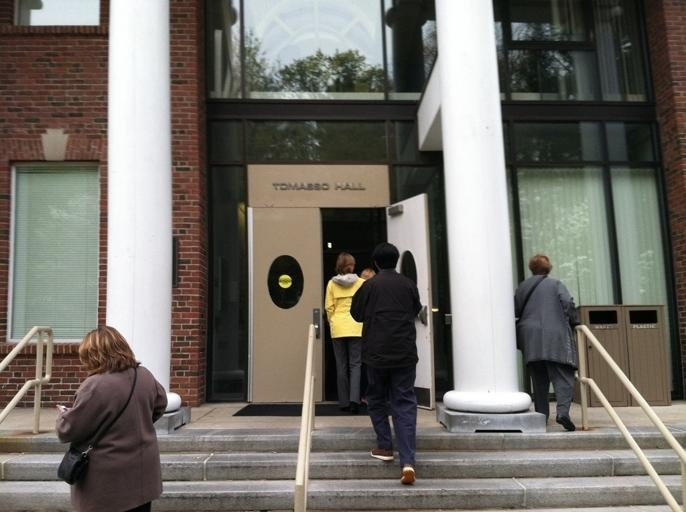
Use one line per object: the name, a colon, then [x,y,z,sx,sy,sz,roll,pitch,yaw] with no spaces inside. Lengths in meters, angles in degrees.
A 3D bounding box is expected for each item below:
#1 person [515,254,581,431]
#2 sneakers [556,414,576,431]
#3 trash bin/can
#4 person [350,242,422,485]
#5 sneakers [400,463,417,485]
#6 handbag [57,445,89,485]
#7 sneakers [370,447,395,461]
person: [2.610,1.228,10.940,0.808,2.157,0.612,-3,-1,14]
sneakers: [2.774,2.104,10.660,0.215,0.200,0.232,-3,-1,28]
trash bin/can: [4.023,1.484,12.367,1.497,1.924,0.721,0,-10,-3]
person: [0.509,1.241,9.916,0.736,2.569,0.579,-3,-1,15]
sneakers: [0.722,2.488,9.640,0.172,0.182,0.417,0,-12,1]
handbag: [-2.570,2.028,8.119,0.266,0.270,0.147,-3,-1,19]
sneakers: [0.451,2.341,9.977,0.108,0.115,0.281,3,-2,-27]
